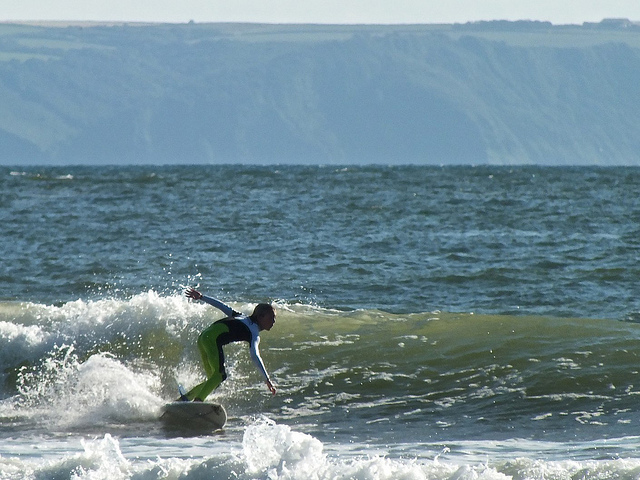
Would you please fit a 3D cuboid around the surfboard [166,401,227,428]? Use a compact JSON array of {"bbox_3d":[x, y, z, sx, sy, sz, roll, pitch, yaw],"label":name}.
[{"bbox_3d":[-3.132,4.604,43.708,2.187,0.515,0.505,8,10,28],"label":"surfboard"}]
